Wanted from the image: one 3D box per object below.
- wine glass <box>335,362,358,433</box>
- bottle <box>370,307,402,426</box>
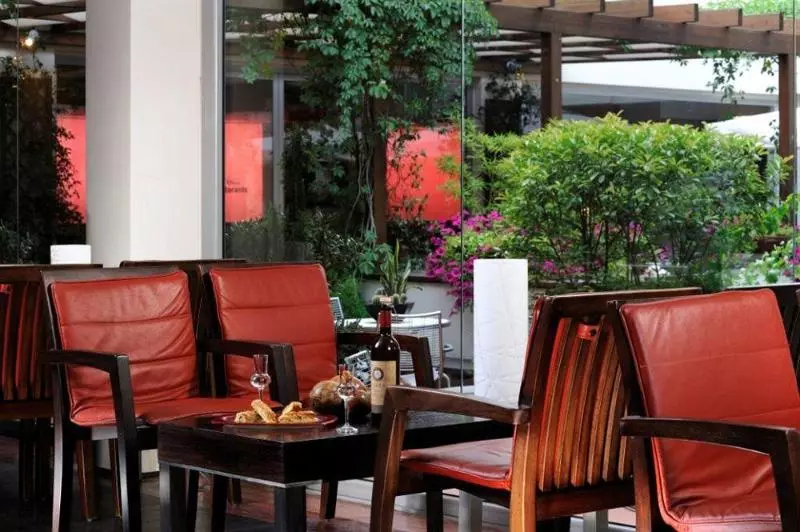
[{"bbox_3d":[-0.177,0.444,2.782,0.088,0.270,0.088,-3,31,-7],"label":"wine glass"},{"bbox_3d":[-0.049,0.326,2.800,0.093,0.402,0.096,1,5,0],"label":"bottle"}]
